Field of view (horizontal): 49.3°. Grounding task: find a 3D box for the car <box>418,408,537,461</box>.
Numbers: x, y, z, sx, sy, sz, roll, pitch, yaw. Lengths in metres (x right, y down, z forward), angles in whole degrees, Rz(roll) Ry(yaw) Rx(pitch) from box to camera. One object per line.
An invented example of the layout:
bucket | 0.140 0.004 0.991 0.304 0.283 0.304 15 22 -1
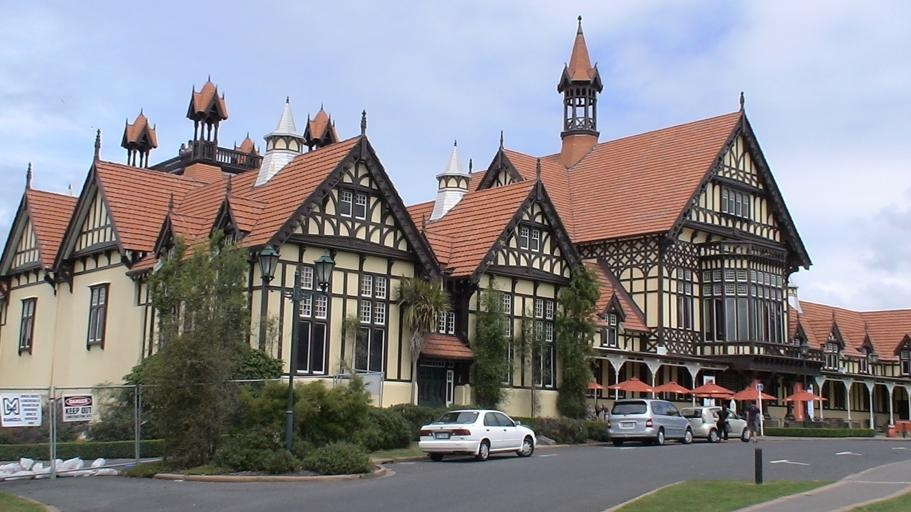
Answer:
car | 1.217 9.221 51.164 2.970 2.422 7.389 -6 -9 39

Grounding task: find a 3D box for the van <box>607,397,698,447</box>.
van | 11.470 9.714 58.239 2.782 2.538 6.688 -7 -9 42
